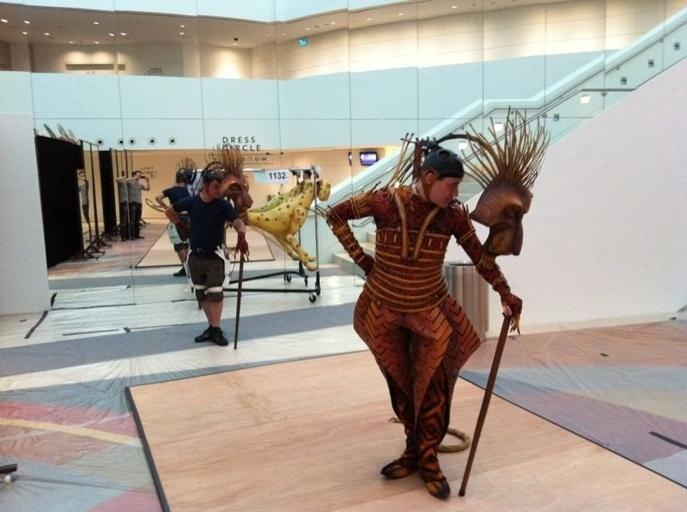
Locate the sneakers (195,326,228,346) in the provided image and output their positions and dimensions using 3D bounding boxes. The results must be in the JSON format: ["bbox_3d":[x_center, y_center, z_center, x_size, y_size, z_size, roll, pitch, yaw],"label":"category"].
[{"bbox_3d":[-1.390,0.860,5.642,0.199,0.126,0.304,3,-7,-28],"label":"sneakers"}]

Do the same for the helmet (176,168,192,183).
[{"bbox_3d":[-2.130,-1.078,7.061,0.159,0.210,0.178,-4,-14,1],"label":"helmet"}]

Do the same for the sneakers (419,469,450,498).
[{"bbox_3d":[0.534,1.329,3.097,0.077,0.101,0.239,-7,-1,-12],"label":"sneakers"}]

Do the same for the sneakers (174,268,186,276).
[{"bbox_3d":[-2.345,0.237,7.622,0.183,0.138,0.075,5,-8,-11],"label":"sneakers"}]

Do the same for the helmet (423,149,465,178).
[{"bbox_3d":[0.552,-0.509,2.934,0.193,0.167,0.147,36,26,22],"label":"helmet"}]

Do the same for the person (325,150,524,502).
[{"bbox_3d":[0.440,0.371,3.111,1.047,1.985,0.506,2,12,18],"label":"person"}]

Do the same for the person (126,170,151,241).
[{"bbox_3d":[-2.798,-0.697,7.128,0.383,0.924,0.220,6,14,34],"label":"person"}]

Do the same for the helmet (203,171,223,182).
[{"bbox_3d":[-1.314,-0.821,5.343,0.206,0.169,0.188,-5,12,-15],"label":"helmet"}]

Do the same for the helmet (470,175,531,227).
[{"bbox_3d":[0.866,-0.320,3.000,0.310,0.238,0.231,-33,21,13],"label":"helmet"}]

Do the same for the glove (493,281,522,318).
[{"bbox_3d":[0.935,0.243,2.990,0.138,0.211,0.129,-6,12,-22],"label":"glove"}]

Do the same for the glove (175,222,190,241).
[{"bbox_3d":[-1.990,-0.322,6.539,0.172,0.253,0.068,8,19,34],"label":"glove"}]

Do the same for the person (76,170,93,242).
[{"bbox_3d":[-3.724,-0.756,7.639,0.140,0.981,0.528,-8,13,-27],"label":"person"}]

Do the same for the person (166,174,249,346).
[{"bbox_3d":[-1.373,0.011,5.525,1.006,1.846,0.361,6,14,34],"label":"person"}]

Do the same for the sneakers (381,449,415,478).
[{"bbox_3d":[0.353,1.284,3.295,0.266,0.200,0.108,0,-2,-22],"label":"sneakers"}]
